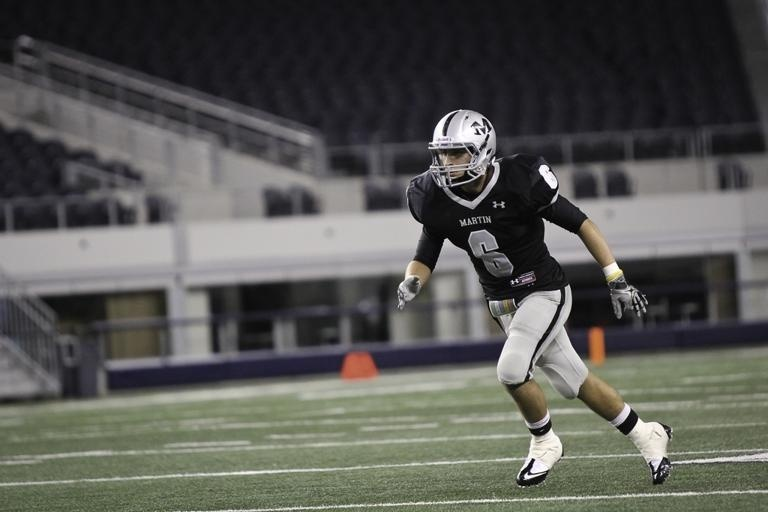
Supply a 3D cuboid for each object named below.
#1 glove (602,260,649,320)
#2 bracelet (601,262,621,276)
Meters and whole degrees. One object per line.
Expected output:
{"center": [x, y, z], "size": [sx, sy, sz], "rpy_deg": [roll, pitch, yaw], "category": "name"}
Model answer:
{"center": [2.168, 0.311, 13.837], "size": [0.357, 0.540, 0.181], "rpy_deg": [-29, 14, 12], "category": "glove"}
{"center": [2.039, 0.112, 13.733], "size": [0.129, 0.099, 0.127], "rpy_deg": [-31, 6, 37], "category": "bracelet"}
